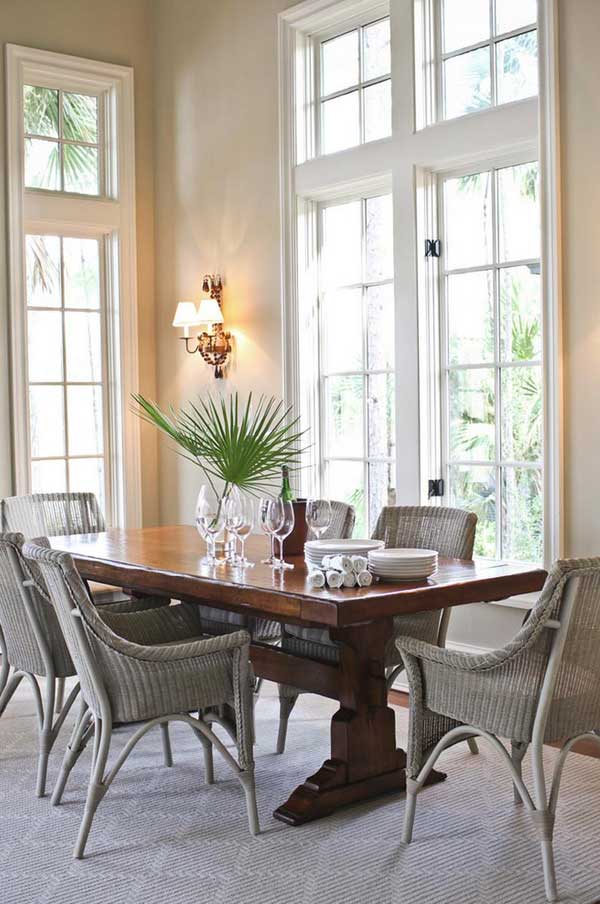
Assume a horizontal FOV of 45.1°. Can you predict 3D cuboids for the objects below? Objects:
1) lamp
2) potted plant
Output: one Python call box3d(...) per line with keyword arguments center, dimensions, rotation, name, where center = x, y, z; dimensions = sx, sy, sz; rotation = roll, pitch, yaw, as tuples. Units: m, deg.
box3d(center=(-0.587, -0.788, 4.526), dimensions=(0.380, 0.650, 0.238), rotation=(6, 9, 43), name="lamp")
box3d(center=(-0.246, 0.068, 2.645), dimensions=(0.432, 0.330, 0.453), rotation=(-10, -12, 33), name="potted plant")
